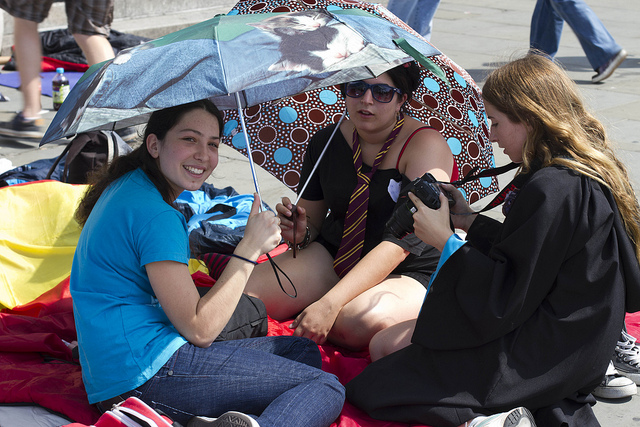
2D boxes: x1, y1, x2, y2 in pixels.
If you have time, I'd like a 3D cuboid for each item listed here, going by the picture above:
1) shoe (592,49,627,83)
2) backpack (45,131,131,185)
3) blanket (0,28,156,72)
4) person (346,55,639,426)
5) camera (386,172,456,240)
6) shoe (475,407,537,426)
[{"bbox_3d":[3.665,-1.855,7.467,0.224,0.563,0.210,50,36,6],"label":"shoe"},{"bbox_3d":[-1.579,-0.369,3.930,0.431,0.440,0.314,-30,93,-29],"label":"backpack"},{"bbox_3d":[-3.520,-2.306,8.255,1.857,0.656,1.360,-5,25,-32],"label":"blanket"},{"bbox_3d":[0.977,0.263,2.852,1.204,1.776,0.936,11,21,7],"label":"person"},{"bbox_3d":[0.542,-0.016,3.228,0.157,0.344,0.340,14,36,-56],"label":"camera"},{"bbox_3d":[0.859,0.940,2.701,0.247,0.097,0.104,-7,65,-6],"label":"shoe"}]
